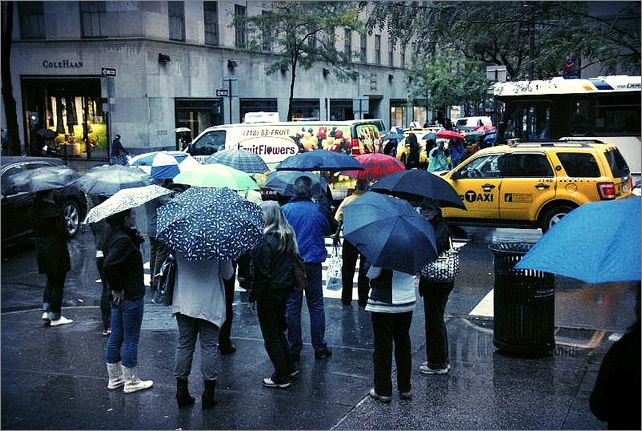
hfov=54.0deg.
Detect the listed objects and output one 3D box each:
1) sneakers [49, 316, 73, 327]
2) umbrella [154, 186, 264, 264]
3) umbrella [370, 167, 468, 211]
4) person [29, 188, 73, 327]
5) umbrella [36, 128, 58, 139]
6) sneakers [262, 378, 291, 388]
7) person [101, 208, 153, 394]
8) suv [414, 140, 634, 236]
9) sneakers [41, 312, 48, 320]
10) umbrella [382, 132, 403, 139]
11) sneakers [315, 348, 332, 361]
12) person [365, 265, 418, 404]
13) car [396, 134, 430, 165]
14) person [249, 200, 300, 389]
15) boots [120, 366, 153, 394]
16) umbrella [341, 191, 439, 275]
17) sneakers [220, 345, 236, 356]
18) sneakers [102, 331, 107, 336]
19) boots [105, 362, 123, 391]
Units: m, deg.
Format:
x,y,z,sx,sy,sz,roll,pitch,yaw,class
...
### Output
x,y,z,sx,sy,sz,roll,pitch,yaw,class
-4.632,1.853,11.135,0.286,0.128,0.148,-5,7,-25,sneakers
-1.456,0.108,8.265,1.381,0.827,0.739,-3,12,-9,umbrella
1.504,-0.471,10.077,0.960,0.334,0.978,12,1,-14,umbrella
-4.762,0.759,11.118,0.563,2.362,0.702,-6,13,-25,person
-13.210,-3.939,30.103,1.024,0.468,1.074,0,18,-12,umbrella
-0.653,2.346,8.843,0.335,0.144,0.149,3,5,10,sneakers
-2.773,1.186,8.765,0.623,2.469,0.695,-5,12,-19,person
5.225,-0.765,16.450,4.777,2.305,2.576,3,7,23,suv
-4.865,1.763,11.065,0.113,0.111,0.116,-3,-6,41,sneakers
3.315,-3.842,29.757,0.639,0.504,1.025,-6,10,-36,umbrella
0.025,2.132,9.717,0.120,0.128,0.288,7,13,32,sneakers
0.942,1.571,8.513,0.640,1.836,0.518,0,11,4,person
4.423,-3.246,30.123,1.215,1.016,2.081,-1,4,-7,car
-0.655,1.089,8.949,0.661,2.535,0.791,1,12,11,person
-2.608,2.312,8.872,0.200,0.420,0.571,-16,-13,28,boots
0.901,0.243,8.317,1.235,0.958,0.772,0,12,6,umbrella
-1.465,2.095,9.888,0.099,0.121,0.271,8,14,32,sneakers
-3.665,1.980,10.611,0.049,0.058,0.129,-3,7,-41,sneakers
-2.907,2.250,8.816,0.185,0.394,0.403,1,7,7,boots
